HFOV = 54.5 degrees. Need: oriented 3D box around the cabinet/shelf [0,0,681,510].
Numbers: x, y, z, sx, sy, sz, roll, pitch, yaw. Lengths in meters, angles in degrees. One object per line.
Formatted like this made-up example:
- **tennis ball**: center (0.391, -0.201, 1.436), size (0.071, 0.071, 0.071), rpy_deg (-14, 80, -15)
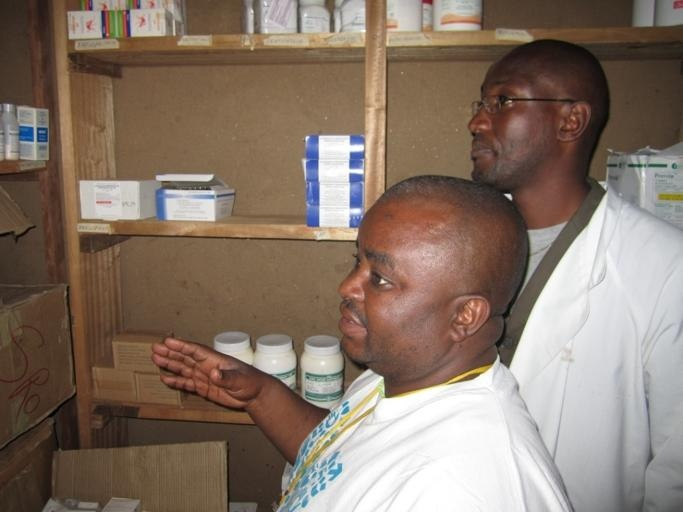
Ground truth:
- **cabinet/shelf**: center (-0.004, -0.062, 2.173), size (2.040, 1.866, 0.515), rpy_deg (0, -3, 3)
